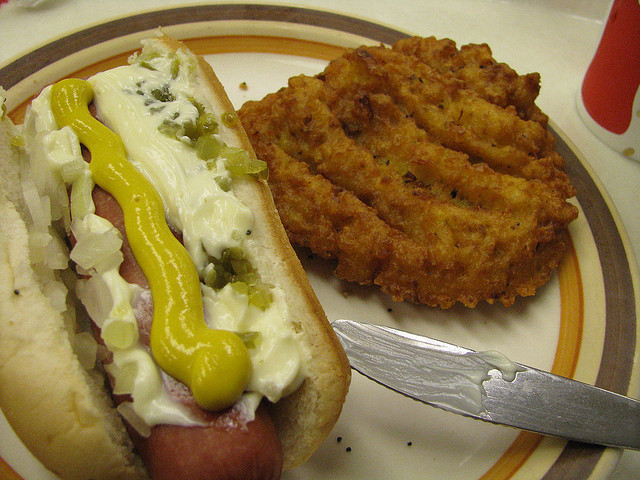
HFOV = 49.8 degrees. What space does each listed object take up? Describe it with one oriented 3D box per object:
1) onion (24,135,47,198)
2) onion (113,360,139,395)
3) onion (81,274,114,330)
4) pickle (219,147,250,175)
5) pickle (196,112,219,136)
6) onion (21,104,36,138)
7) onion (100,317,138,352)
[{"bbox_3d":[-1.435,-0.390,3.504,0.087,0.215,0.293,13,76,-40],"label":"onion"},{"bbox_3d":[-0.872,0.623,3.133,0.084,0.037,0.166,9,86,11],"label":"onion"},{"bbox_3d":[-1.044,0.278,3.260,0.058,0.141,0.256,-6,83,-59],"label":"onion"},{"bbox_3d":[-0.436,-0.416,3.593,0.142,0.039,0.151,4,59,-25],"label":"pickle"},{"bbox_3d":[-0.598,-0.621,3.657,0.097,0.044,0.121,-5,61,-23],"label":"pickle"},{"bbox_3d":[-1.533,-0.629,3.649,0.041,0.087,0.177,-1,98,-32],"label":"onion"},{"bbox_3d":[-0.916,0.430,3.169,0.158,0.061,0.145,1,69,-4],"label":"onion"}]
